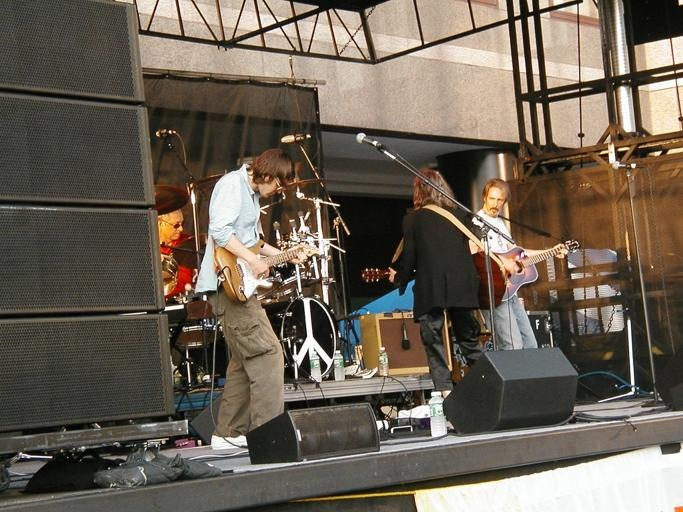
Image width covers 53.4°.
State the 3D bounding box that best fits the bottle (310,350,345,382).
[{"bbox_3d":[-0.126,0.897,5.511,0.219,0.191,0.074,5,-17,-28],"label":"bottle"}]

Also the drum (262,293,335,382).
[{"bbox_3d":[-0.179,0.658,5.849,0.599,0.616,0.472,-7,0,35],"label":"drum"}]

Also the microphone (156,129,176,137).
[{"bbox_3d":[-1.805,-1.264,6.969,0.130,0.041,0.129,-1,5,0],"label":"microphone"}]

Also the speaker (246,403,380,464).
[{"bbox_3d":[-0.079,0.797,3.007,0.422,0.189,0.303,4,-23,-36],"label":"speaker"}]

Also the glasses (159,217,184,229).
[{"bbox_3d":[-1.717,-0.336,6.823,0.186,0.057,0.185,-1,-2,26],"label":"glasses"}]

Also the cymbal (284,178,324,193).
[{"bbox_3d":[-0.384,-0.758,7.055,0.472,0.108,0.469,-4,3,7],"label":"cymbal"}]

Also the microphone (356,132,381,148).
[{"bbox_3d":[0.178,-0.687,4.081,0.156,0.092,0.272,7,13,2],"label":"microphone"}]

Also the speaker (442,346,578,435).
[{"bbox_3d":[0.885,0.697,3.547,0.627,0.448,0.446,5,-10,-36],"label":"speaker"}]

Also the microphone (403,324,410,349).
[{"bbox_3d":[0.569,0.719,6.065,0.062,0.205,0.050,-2,-11,-10],"label":"microphone"}]
